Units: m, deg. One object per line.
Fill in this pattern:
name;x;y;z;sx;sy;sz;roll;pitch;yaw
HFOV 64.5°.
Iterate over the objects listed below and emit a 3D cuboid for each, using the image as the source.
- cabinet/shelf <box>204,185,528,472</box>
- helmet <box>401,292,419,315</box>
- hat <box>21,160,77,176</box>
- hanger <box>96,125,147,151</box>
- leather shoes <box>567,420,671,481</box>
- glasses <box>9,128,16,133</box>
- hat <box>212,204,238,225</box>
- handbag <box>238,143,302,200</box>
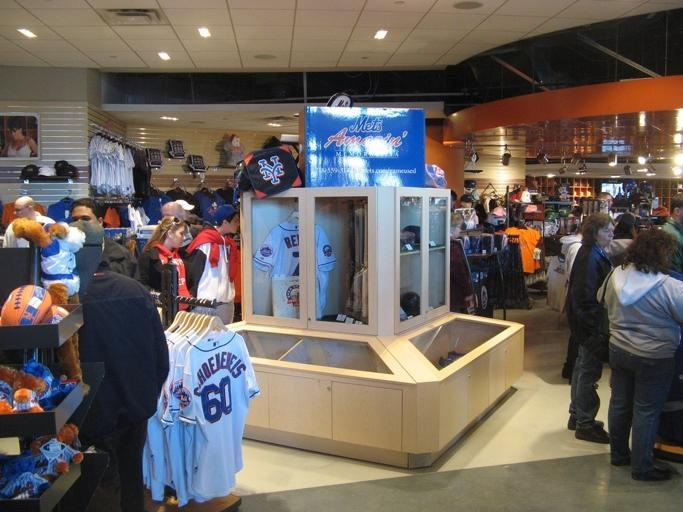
cabinet/shelf;0.392;0.582;5.222;2.355;1.819;2.397;2;5;32
helmet;0.645;0.453;5.067;0.219;0.222;0.166;1;4;22
hat;-4.672;-1.315;8.590;0.551;0.182;0.385;-1;3;-34
hanger;-3.896;-1.946;9.140;0.692;0.387;1.125;2;8;14
leather shoes;2.207;1.569;4.325;0.203;0.276;0.659;-4;11;-28
glasses;-5.414;-2.027;8.865;0.072;0.132;0.074;5;5;21
hat;-1.309;-0.486;6.023;0.194;0.264;0.267;12;-29;-13
handbag;-0.723;-0.810;5.161;0.657;0.390;0.671;-4;16;19
